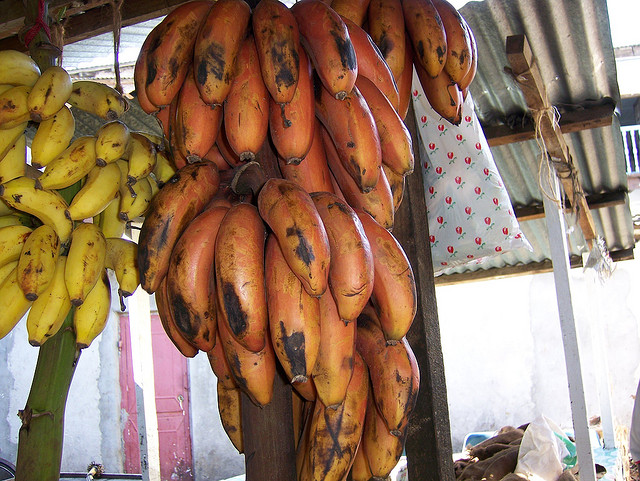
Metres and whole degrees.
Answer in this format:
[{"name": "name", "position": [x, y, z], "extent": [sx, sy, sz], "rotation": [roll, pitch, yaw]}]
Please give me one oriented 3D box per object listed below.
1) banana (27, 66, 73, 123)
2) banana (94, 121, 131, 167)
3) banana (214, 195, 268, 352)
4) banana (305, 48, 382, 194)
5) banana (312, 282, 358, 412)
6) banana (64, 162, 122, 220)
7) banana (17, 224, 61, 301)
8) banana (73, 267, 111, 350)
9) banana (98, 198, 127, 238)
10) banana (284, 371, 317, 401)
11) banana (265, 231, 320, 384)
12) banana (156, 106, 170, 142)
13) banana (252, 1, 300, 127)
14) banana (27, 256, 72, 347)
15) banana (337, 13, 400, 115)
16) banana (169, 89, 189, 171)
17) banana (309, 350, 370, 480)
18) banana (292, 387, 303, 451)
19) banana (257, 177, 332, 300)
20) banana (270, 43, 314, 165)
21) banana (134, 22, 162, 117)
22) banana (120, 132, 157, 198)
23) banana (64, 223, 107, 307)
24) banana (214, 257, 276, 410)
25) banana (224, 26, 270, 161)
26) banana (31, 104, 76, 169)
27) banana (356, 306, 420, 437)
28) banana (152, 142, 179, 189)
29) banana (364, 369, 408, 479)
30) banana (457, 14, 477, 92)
[{"name": "banana", "position": [-0.768, -0.425, 1.631], "extent": [0.080, 0.179, 0.077], "rotation": [21, -40, -6]}, {"name": "banana", "position": [-0.603, -0.282, 1.660], "extent": [0.084, 0.140, 0.079], "rotation": [12, -26, 14]}, {"name": "banana", "position": [-0.178, 0.061, 1.213], "extent": [0.110, 0.388, 0.121], "rotation": [-1, -38, -8]}, {"name": "banana", "position": [0.084, -0.232, 1.298], "extent": [0.114, 0.404, 0.099], "rotation": [-11, 6, 41]}, {"name": "banana", "position": [0.031, 0.245, 1.238], "extent": [0.072, 0.300, 0.086], "rotation": [5, -15, -9]}, {"name": "banana", "position": [-0.657, -0.147, 1.633], "extent": [0.096, 0.187, 0.052], "rotation": [21, -37, 4]}, {"name": "banana", "position": [-0.785, 0.054, 1.578], "extent": [0.101, 0.249, 0.090], "rotation": [8, -40, -18]}, {"name": "banana", "position": [-0.657, 0.203, 1.653], "extent": [0.076, 0.284, 0.080], "rotation": [12, -2, -24]}, {"name": "banana", "position": [-0.645, -0.072, 1.738], "extent": [0.036, 0.116, 0.032], "rotation": [14, -13, -2]}, {"name": "banana", "position": [-0.035, 0.321, 1.286], "extent": [0.040, 0.031, 0.106], "rotation": [-34, -23, 26]}, {"name": "banana", "position": [-0.057, 0.156, 1.201], "extent": [0.088, 0.336, 0.088], "rotation": [-14, -11, 40]}, {"name": "banana", "position": [-0.388, -0.303, 1.390], "extent": [0.022, 0.126, 0.031], "rotation": [-14, -30, 10]}, {"name": "banana", "position": [-0.097, -0.405, 1.282], "extent": [0.079, 0.306, 0.093], "rotation": [-6, -13, -4]}, {"name": "banana", "position": [-0.760, 0.199, 1.572], "extent": [0.084, 0.320, 0.087], "rotation": [13, -7, -33]}, {"name": "banana", "position": [0.125, -0.416, 1.370], "extent": [0.075, 0.099, 0.308], "rotation": [-22, -66, 23]}, {"name": "banana", "position": [-0.332, -0.272, 1.344], "extent": [0.053, 0.198, 0.046], "rotation": [-1, -9, 14]}, {"name": "banana", "position": [0.042, 0.430, 1.303], "extent": [0.085, 0.379, 0.114], "rotation": [12, -17, -9]}, {"name": "banana", "position": [-0.059, 0.463, 1.453], "extent": [0.024, 0.165, 0.038], "rotation": [0, 5, -23]}, {"name": "banana", "position": [-0.053, -0.016, 1.192], "extent": [0.120, 0.282, 0.104], "rotation": [-19, -19, -24]}, {"name": "banana", "position": [-0.064, -0.289, 1.279], "extent": [0.070, 0.288, 0.082], "rotation": [0, 3, -28]}, {"name": "banana", "position": [-0.403, -0.397, 1.332], "extent": [0.056, 0.232, 0.074], "rotation": [0, -8, -14]}, {"name": "banana", "position": [-0.508, -0.218, 1.621], "extent": [0.044, 0.185, 0.103], "rotation": [-9, -49, 7]}, {"name": "banana", "position": [-0.666, 0.062, 1.594], "extent": [0.111, 0.282, 0.093], "rotation": [0, -45, -18]}, {"name": "banana", "position": [-0.147, 0.251, 1.278], "extent": [0.105, 0.402, 0.099], "rotation": [-9, 3, 12]}, {"name": "banana", "position": [-0.175, -0.363, 1.285], "extent": [0.098, 0.397, 0.104], "rotation": [-2, -4, -21]}, {"name": "banana", "position": [-0.803, -0.304, 1.694], "extent": [0.097, 0.206, 0.066], "rotation": [28, -22, -28]}, {"name": "banana", "position": [0.169, 0.291, 1.350], "extent": [0.120, 0.383, 0.103], "rotation": [-19, -15, 26]}, {"name": "banana", "position": [-0.436, -0.215, 1.580], "extent": [0.058, 0.177, 0.044], "rotation": [12, 24, 29]}, {"name": "banana", "position": [0.160, 0.456, 1.331], "extent": [0.072, 0.307, 0.090], "rotation": [2, -1, -16]}, {"name": "banana", "position": [0.400, -0.493, 1.508], "extent": [0.045, 0.219, 0.049], "rotation": [-3, -7, -17]}]
